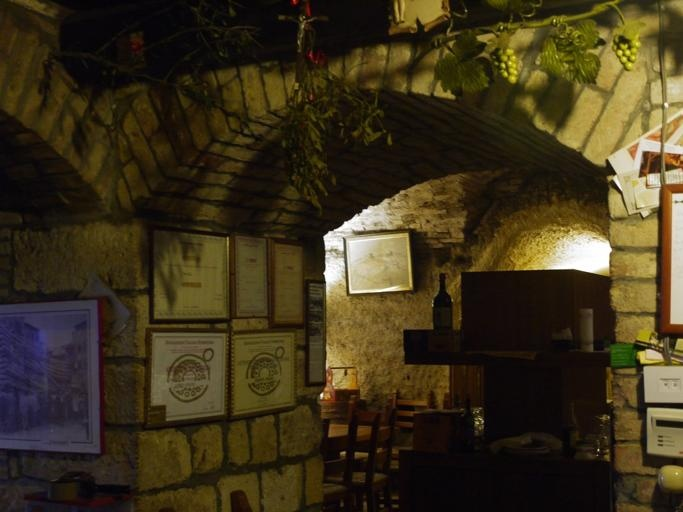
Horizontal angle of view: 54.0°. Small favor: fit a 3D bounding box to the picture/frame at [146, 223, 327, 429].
[{"bbox_3d":[-0.535,0.337,3.217,0.050,0.992,1.006,-1,-4,35],"label":"picture/frame"}]
